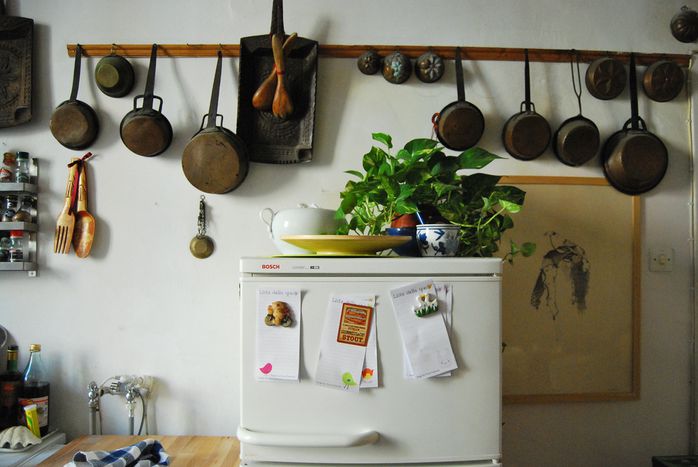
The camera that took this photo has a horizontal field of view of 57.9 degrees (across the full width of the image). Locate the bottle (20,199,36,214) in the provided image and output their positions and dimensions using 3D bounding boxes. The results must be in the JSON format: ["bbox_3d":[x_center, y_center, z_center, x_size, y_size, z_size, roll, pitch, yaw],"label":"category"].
[{"bbox_3d":[-1.596,-0.139,3.151,0.051,0.082,0.079,-9,9,-27],"label":"bottle"}]

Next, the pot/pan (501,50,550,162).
[{"bbox_3d":[0.883,-0.643,3.156,0.219,0.554,0.082,0,-2,-6],"label":"pot/pan"}]

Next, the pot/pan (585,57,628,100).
[{"bbox_3d":[1.295,-0.781,3.216,0.203,0.199,0.056,6,-1,-4],"label":"pot/pan"}]

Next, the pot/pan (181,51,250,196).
[{"bbox_3d":[-0.659,-0.529,3.047,0.294,0.635,0.088,1,4,4],"label":"pot/pan"}]

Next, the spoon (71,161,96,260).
[{"bbox_3d":[-1.336,-0.118,3.116,0.145,0.072,0.589,-1,-40,-24],"label":"spoon"}]

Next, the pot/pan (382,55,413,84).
[{"bbox_3d":[0.258,-0.819,3.191,0.179,0.194,0.107,4,-34,-4],"label":"pot/pan"}]

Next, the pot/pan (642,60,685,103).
[{"bbox_3d":[1.584,-0.769,3.174,0.195,0.200,0.065,6,0,-5],"label":"pot/pan"}]

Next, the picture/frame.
[{"bbox_3d":[1.036,0.315,3.082,1.087,1.368,0.068,0,-4,-4],"label":"picture/frame"}]

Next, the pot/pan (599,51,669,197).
[{"bbox_3d":[1.449,-0.547,3.168,0.343,0.715,0.096,0,-2,-7],"label":"pot/pan"}]

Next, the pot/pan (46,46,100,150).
[{"bbox_3d":[-1.367,-0.683,3.150,0.215,0.526,0.084,0,-2,6],"label":"pot/pan"}]

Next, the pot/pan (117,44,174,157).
[{"bbox_3d":[-0.996,-0.621,3.080,0.261,0.539,0.090,3,2,4],"label":"pot/pan"}]

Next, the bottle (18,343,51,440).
[{"bbox_3d":[-1.529,0.764,3.080,0.135,0.442,0.099,1,-3,-30],"label":"bottle"}]

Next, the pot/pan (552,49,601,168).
[{"bbox_3d":[1.145,-0.630,3.163,0.239,0.596,0.073,0,-2,-3],"label":"pot/pan"}]

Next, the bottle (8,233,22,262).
[{"bbox_3d":[-1.649,0.063,3.124,0.061,0.148,0.068,1,-2,-26],"label":"bottle"}]

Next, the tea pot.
[{"bbox_3d":[-0.209,-0.009,2.943,0.309,0.267,0.314,2,-6,0],"label":"tea pot"}]
